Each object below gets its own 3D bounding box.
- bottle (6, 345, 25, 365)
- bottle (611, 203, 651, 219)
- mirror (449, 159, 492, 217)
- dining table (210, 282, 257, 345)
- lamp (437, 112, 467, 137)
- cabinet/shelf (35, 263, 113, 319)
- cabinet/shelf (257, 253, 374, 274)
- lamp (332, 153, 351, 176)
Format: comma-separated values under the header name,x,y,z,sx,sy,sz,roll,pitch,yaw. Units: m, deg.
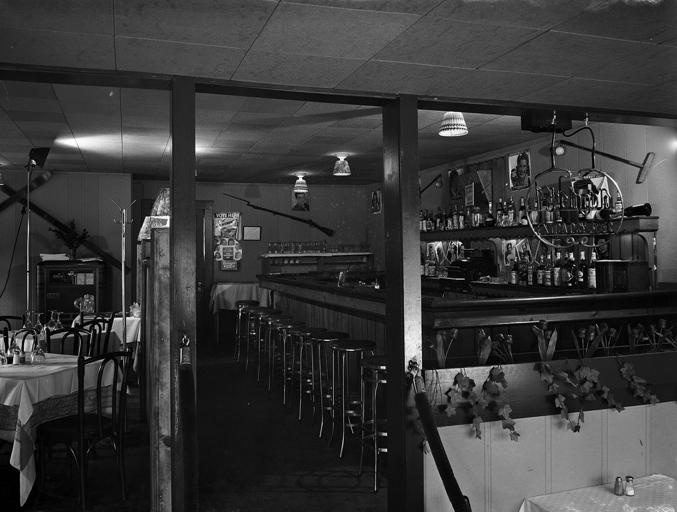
name,x,y,z,sx,sy,sz,roll,pitch,yaw
bottle,-2.531,0.788,5.101,0.172,0.180,0.105,0,0,-6
bottle,2.655,-0.412,5.860,0.159,0.130,0.380,-3,6,-16
mirror,1.759,-0.876,8.489,0.253,0.744,0.807,0,-1,-13
dining table,-1.788,0.898,10.574,0.819,1.202,0.931,1,-4,-18
lamp,1.034,-1.192,5.806,0.217,0.193,0.398,0,6,8
cabinet/shelf,-3.616,0.459,8.740,0.683,0.740,0.386,0,-2,-14
cabinet/shelf,-0.312,0.084,11.071,2.013,0.337,0.351,-5,7,-32
lamp,0.078,-1.152,8.298,0.278,0.323,0.280,-1,3,-21
